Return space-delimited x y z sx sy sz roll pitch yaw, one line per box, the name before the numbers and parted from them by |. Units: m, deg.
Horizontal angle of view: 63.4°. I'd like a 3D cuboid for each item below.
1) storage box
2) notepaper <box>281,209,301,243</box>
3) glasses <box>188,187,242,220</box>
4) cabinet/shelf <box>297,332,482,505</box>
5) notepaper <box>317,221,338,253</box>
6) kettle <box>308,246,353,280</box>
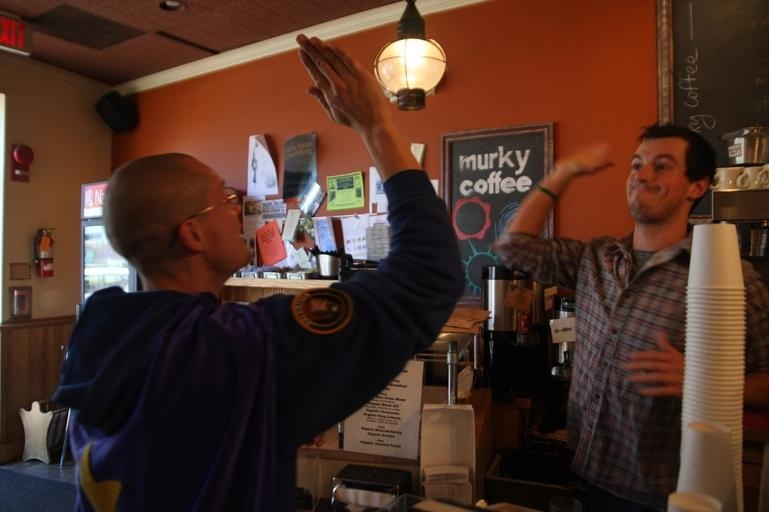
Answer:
storage box | 0.751 1.083 2.984 0.434 0.137 0.412 2 1 -1
notepaper | -0.745 -0.237 4.924 0.150 0.245 0.060 7 -4 21
glasses | -0.569 -0.170 2.048 0.158 0.043 0.150 -33 14 -5
cabinet/shelf | 0.004 0.673 2.430 0.936 0.832 0.226 1 8 -3
notepaper | -0.458 -0.152 4.782 0.167 0.287 0.031 -6 7 -15
kettle | -0.372 0.052 4.327 0.273 0.184 0.216 1 0 -12
